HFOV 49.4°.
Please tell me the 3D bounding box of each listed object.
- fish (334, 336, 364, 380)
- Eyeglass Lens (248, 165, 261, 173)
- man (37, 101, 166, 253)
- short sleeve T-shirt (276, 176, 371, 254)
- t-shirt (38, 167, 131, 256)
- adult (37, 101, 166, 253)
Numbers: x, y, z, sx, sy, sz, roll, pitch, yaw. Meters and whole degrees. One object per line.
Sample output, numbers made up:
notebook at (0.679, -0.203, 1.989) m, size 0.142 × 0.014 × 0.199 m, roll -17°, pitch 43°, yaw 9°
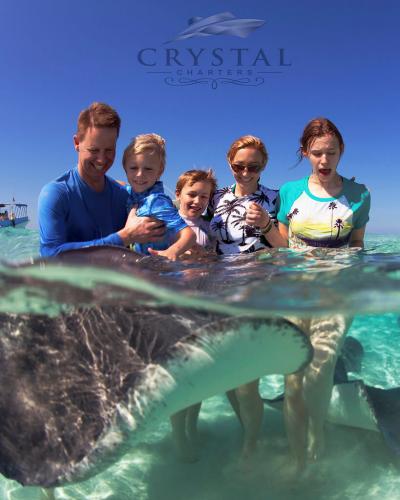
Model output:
fish at (0.957, 0.721, 2.824) m, size 0.080 × 0.271 × 0.303 m, roll 24°, pitch 14°, yaw 24°
Eyeglass Lens at (0.444, -0.668, 3.585) m, size 0.084 × 0.031 × 0.072 m, roll -2°, pitch 44°, yaw 4°
man at (-0.668, -0.385, 3.429) m, size 1.191 × 1.331 × 0.755 m, roll 2°, pitch 16°, yaw 5°
short sleeve T-shirt at (0.977, -0.255, 3.506) m, size 0.790 × 0.613 × 0.380 m, roll 3°, pitch 27°, yaw 12°
t-shirt at (-0.879, -0.302, 3.520) m, size 0.942 × 0.645 × 0.464 m, roll -10°, pitch 24°, yaw -42°
adult at (-0.665, -0.383, 3.424) m, size 1.168 × 1.331 × 0.750 m, roll 3°, pitch 16°, yaw 5°
